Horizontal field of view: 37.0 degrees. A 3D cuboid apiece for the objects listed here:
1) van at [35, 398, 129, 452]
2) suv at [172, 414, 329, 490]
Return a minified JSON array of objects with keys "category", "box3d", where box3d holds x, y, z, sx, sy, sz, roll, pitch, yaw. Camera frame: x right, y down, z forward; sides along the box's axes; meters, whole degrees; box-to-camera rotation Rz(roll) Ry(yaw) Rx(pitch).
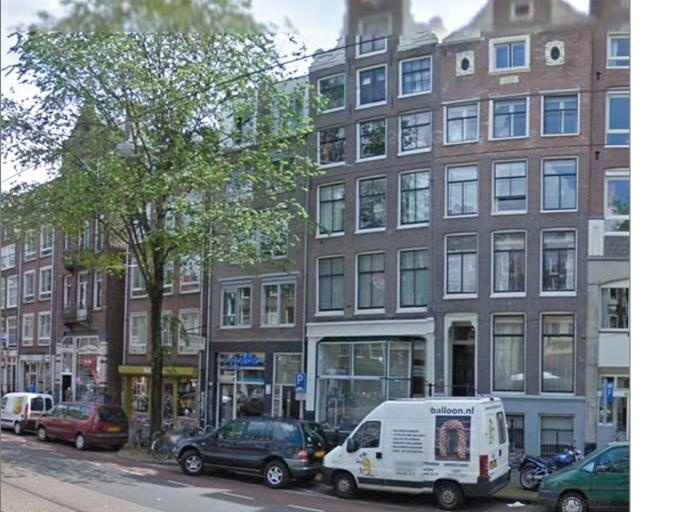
[{"category":"van","box3d":[-9.638,6.407,38.130,2.760,2.038,2.438,-6,-8,44]},{"category":"suv","box3d":[-2.972,6.213,32.368,5.081,1.958,2.188,-3,-7,27]}]
